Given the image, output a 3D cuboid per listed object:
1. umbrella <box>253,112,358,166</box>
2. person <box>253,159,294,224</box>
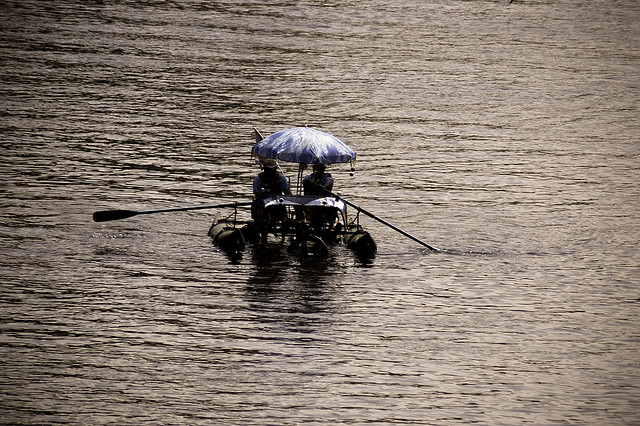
[{"bbox_3d":[-0.467,-2.397,47.582,2.883,0.775,2.813,18,22,40],"label":"umbrella"},{"bbox_3d":[-1.488,-0.472,46.907,1.464,2.153,1.021,-9,-2,24],"label":"person"}]
